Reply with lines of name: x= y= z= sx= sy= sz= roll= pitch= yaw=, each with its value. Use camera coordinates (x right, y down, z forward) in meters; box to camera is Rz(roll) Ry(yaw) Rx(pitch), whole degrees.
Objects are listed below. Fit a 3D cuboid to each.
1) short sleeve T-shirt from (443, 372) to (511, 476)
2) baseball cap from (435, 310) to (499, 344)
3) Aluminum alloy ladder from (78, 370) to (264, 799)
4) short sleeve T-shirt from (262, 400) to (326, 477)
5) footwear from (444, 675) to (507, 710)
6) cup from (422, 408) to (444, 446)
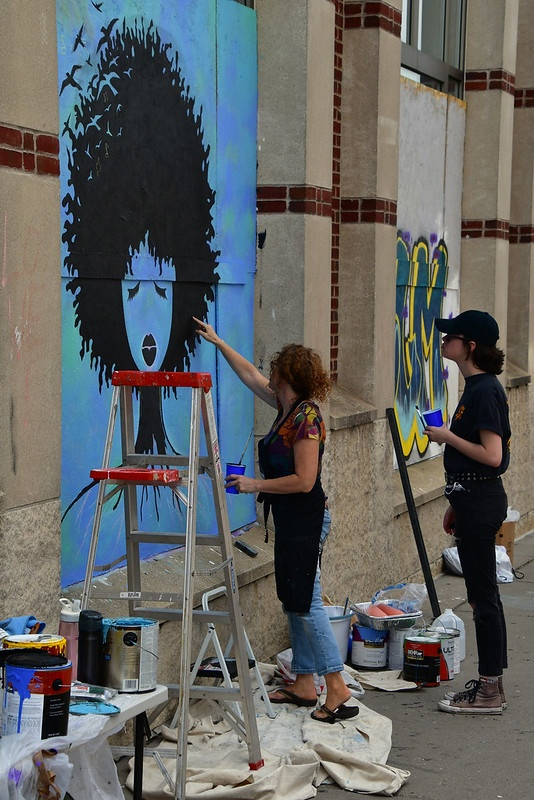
short sleeve T-shirt: x=1.058 y=0.127 z=5.312 sx=0.259 sy=0.546 sz=0.529 roll=4 pitch=-6 yaw=4
baseball cap: x=1.006 y=-0.365 z=5.312 sx=0.238 sy=0.158 sz=0.172 roll=14 pitch=10 yaw=7
Aluminum alloy ladder: x=-0.334 y=0.673 z=4.228 sx=0.778 sy=1.617 sz=1.297 roll=3 pitch=4 yaw=-9
short sleeve T-shirt: x=0.123 y=0.178 z=4.765 sx=0.143 sy=0.299 sz=0.296 roll=13 pitch=19 yaw=-3
footwear: x=1.030 y=1.485 z=5.255 sx=0.209 sy=0.134 sz=0.187 roll=2 pitch=-5 yaw=11
cup: x=0.852 y=0.134 z=5.430 sx=0.116 sy=0.144 sz=0.123 roll=-24 pitch=0 yaw=0
